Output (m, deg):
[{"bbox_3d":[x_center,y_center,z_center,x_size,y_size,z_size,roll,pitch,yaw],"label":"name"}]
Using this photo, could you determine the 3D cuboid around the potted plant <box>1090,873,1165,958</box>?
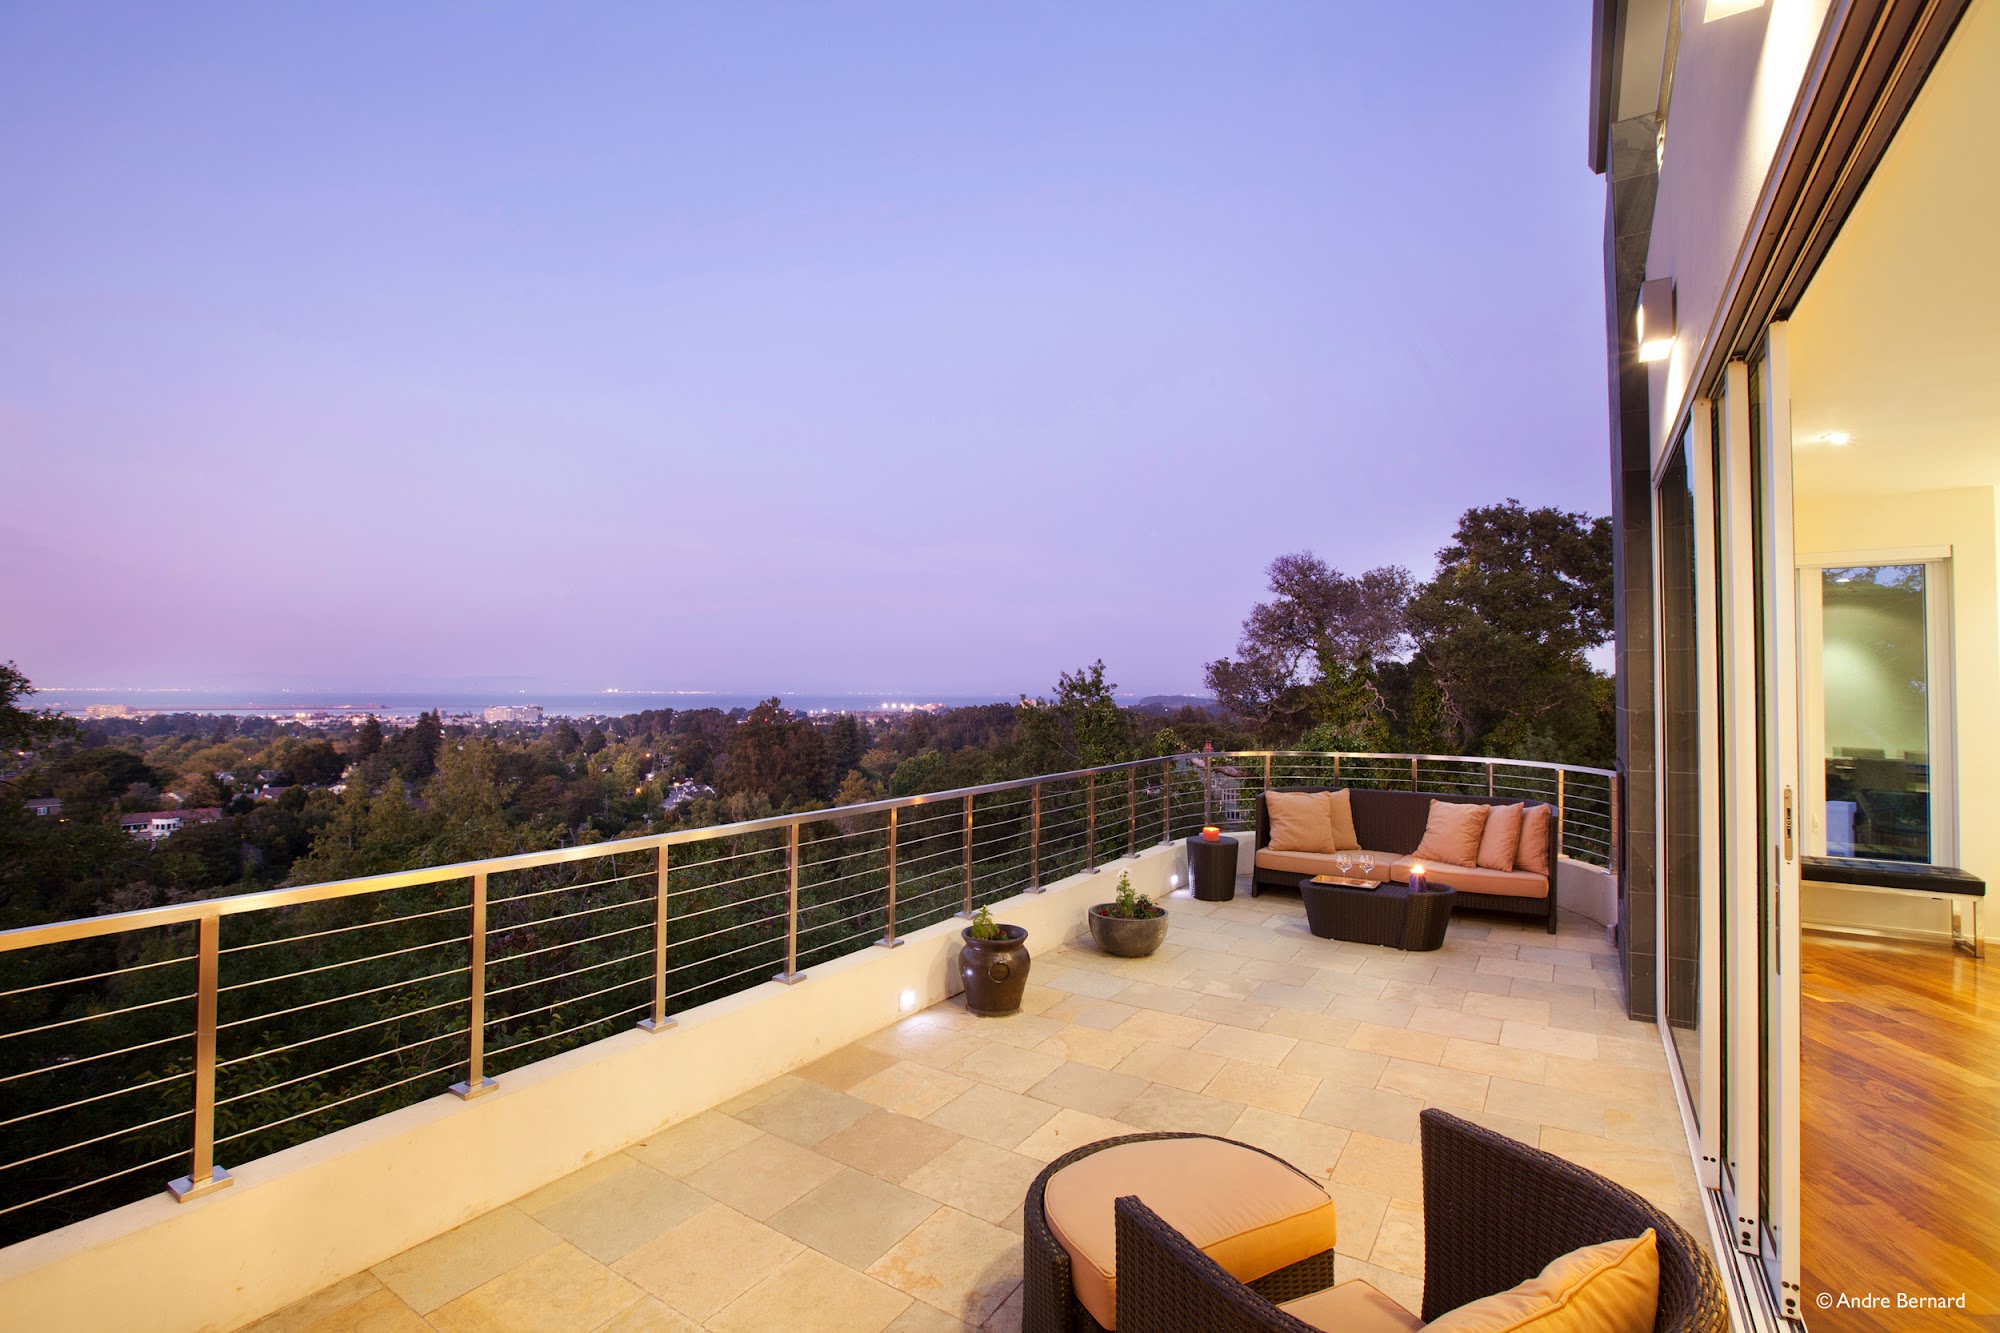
[{"bbox_3d":[1.015,1.914,9.393,0.582,0.531,0.588,-1,-1,24],"label":"potted plant"}]

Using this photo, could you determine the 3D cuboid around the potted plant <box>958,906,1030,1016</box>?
[{"bbox_3d":[-0.048,2.039,8.188,0.619,0.680,0.597,-2,-2,38],"label":"potted plant"}]

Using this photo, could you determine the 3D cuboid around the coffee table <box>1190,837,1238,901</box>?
[{"bbox_3d":[1.895,1.800,10.804,0.520,0.550,0.514,0,-4,-19],"label":"coffee table"}]

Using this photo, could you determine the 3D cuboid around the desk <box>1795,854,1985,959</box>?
[{"bbox_3d":[6.938,1.820,9.377,1.077,0.778,0.519,-6,-4,38],"label":"desk"}]
